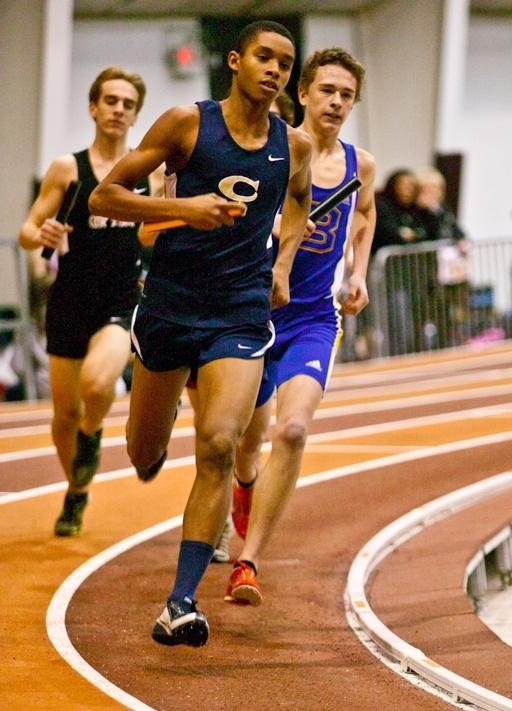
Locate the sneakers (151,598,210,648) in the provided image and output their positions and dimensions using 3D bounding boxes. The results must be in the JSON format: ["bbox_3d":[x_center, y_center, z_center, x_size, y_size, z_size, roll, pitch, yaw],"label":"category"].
[{"bbox_3d":[-0.175,0.620,1.750,0.071,0.083,0.182,3,-6,-17],"label":"sneakers"}]

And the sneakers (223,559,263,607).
[{"bbox_3d":[-0.027,0.640,2.105,0.067,0.074,0.170,0,-5,-4],"label":"sneakers"}]

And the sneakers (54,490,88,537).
[{"bbox_3d":[-0.756,0.659,3.101,0.092,0.212,0.099,10,-11,-7],"label":"sneakers"}]

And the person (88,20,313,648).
[{"bbox_3d":[-0.151,-0.086,2.082,0.584,1.710,0.792,1,-1,3],"label":"person"}]
